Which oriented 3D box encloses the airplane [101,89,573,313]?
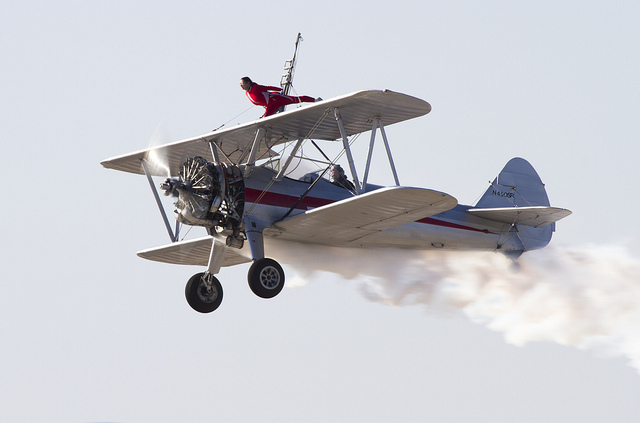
[{"bbox_3d":[1.053,0.496,22.476,10.397,4.161,10.935,11,-11,-42],"label":"airplane"}]
